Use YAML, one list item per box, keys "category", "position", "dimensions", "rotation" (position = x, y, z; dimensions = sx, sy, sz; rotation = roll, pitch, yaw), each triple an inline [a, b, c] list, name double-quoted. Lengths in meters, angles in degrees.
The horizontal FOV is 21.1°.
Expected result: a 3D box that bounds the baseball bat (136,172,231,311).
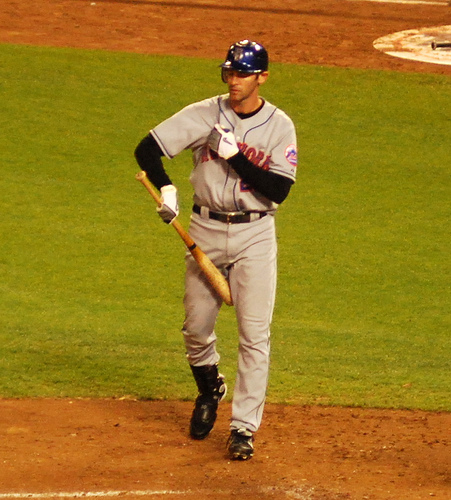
- category: "baseball bat"
  position: [-0.409, 0.007, 11.237]
  dimensions: [0.181, 1.901, 0.171]
  rotation: [-39, 6, -14]
